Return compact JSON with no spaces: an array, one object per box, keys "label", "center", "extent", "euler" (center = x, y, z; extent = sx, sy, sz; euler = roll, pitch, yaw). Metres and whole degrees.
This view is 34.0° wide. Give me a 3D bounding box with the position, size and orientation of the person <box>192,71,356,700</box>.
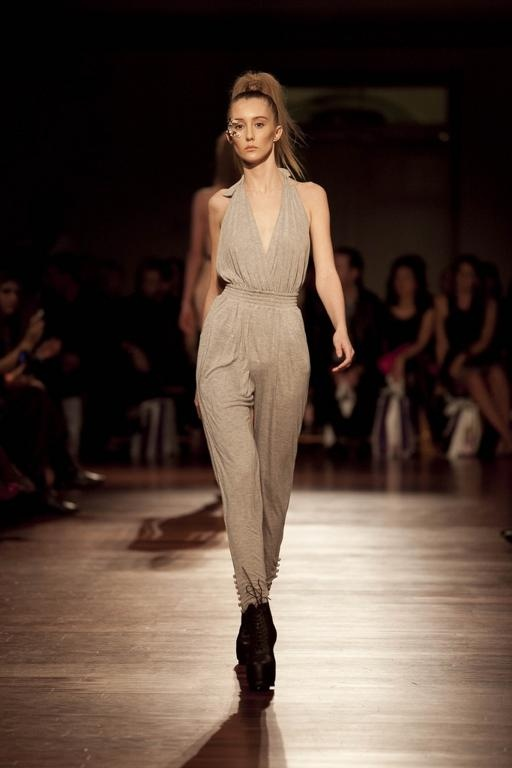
[{"label":"person","center":[0.035,-0.077,1.842],"extent":[0.345,1.376,0.583],"euler":[-3,3,-4]}]
